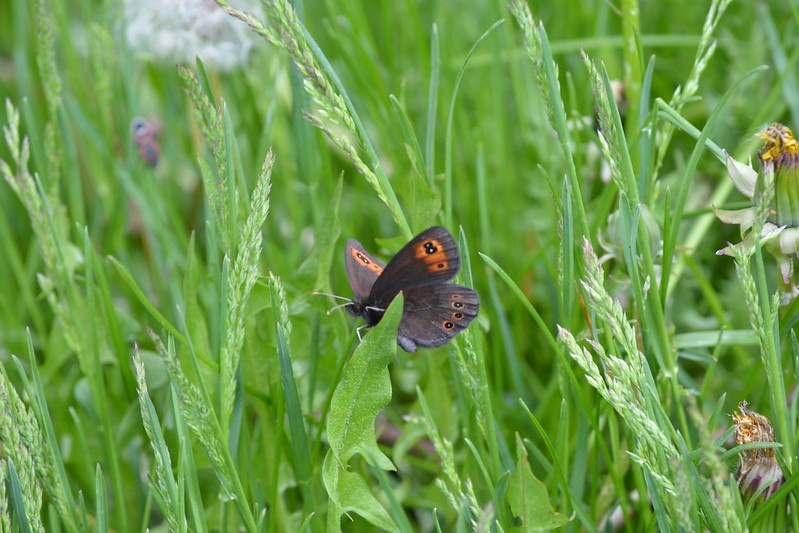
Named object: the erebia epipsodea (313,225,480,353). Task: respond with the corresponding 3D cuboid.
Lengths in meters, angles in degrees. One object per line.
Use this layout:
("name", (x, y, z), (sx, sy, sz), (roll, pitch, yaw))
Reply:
("erebia epipsodea", (0.004, 0.034, 1.111), (0.184, 0.205, 0.140), (27, 71, -26))
